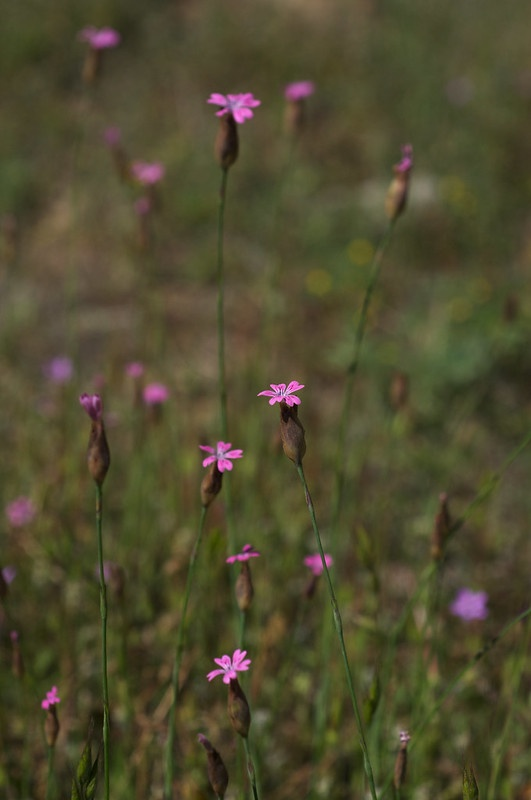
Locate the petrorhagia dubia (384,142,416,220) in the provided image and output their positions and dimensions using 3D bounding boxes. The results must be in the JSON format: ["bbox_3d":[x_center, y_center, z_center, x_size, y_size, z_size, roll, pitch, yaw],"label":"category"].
[{"bbox_3d":[0.136,-0.216,1.082,0.030,0.086,0.022,18,31,27],"label":"petrorhagia dubia"}]

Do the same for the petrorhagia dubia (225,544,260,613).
[{"bbox_3d":[-0.022,0.179,1.048,0.036,0.032,0.059,6,81,-40],"label":"petrorhagia dubia"}]

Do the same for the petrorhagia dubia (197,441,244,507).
[{"bbox_3d":[-0.050,0.077,1.022,0.044,0.041,0.062,22,75,-23],"label":"petrorhagia dubia"}]

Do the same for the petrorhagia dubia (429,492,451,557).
[{"bbox_3d":[0.178,0.125,1.073,0.016,0.040,0.075,9,91,13],"label":"petrorhagia dubia"}]

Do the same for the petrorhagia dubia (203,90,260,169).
[{"bbox_3d":[-0.037,-0.253,1.024,0.050,0.069,0.048,14,22,13],"label":"petrorhagia dubia"}]
